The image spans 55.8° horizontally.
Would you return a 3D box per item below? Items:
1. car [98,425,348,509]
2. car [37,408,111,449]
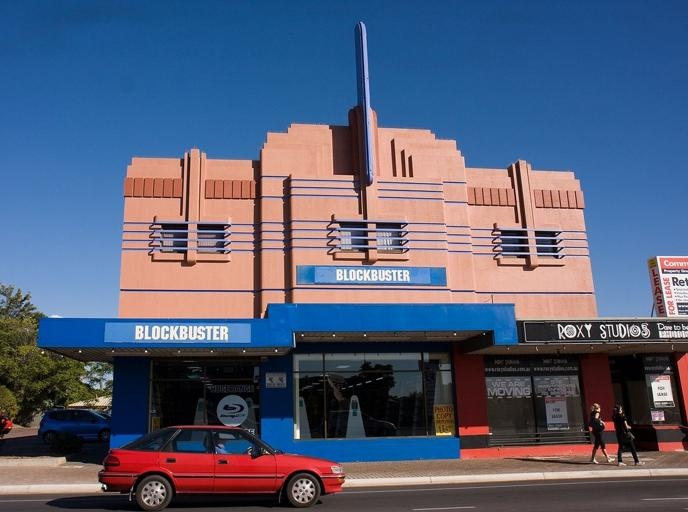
[{"bbox_3d":[-3.304,5.638,17.911,6.642,1.702,2.367,0,-13,-6],"label":"car"},{"bbox_3d":[-13.382,8.832,32.429,4.839,1.682,2.365,1,-5,-18],"label":"car"}]
